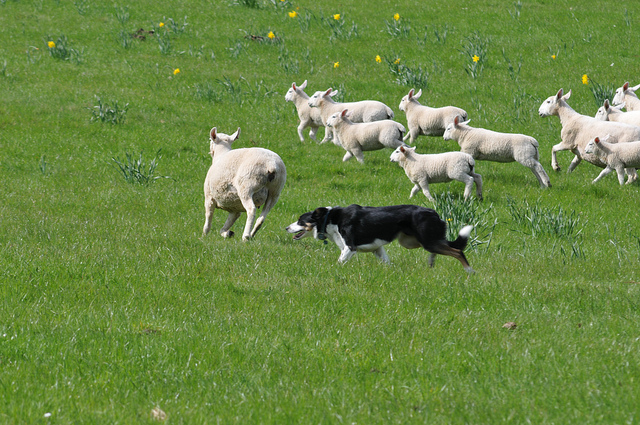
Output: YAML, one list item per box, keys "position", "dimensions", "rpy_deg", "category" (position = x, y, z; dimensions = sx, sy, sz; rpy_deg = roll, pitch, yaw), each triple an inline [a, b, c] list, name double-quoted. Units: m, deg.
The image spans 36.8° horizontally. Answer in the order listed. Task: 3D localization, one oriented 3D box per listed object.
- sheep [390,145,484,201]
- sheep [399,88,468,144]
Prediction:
- position: [3.075, -1.001, 24.863]
  dimensions: [2.297, 1.246, 0.709]
  rpy_deg: [7, 22, 11]
  category: "sheep"
- position: [3.306, -2.709, 28.130]
  dimensions: [2.375, 1.716, 0.742]
  rpy_deg: [9, 12, 36]
  category: "sheep"
